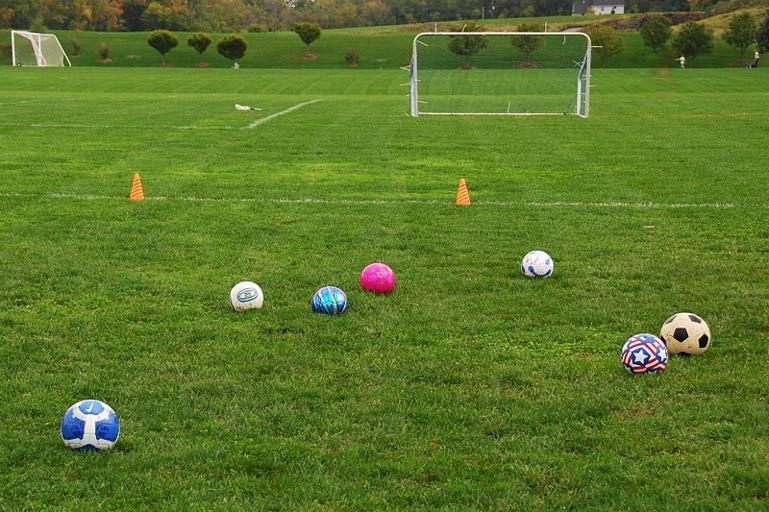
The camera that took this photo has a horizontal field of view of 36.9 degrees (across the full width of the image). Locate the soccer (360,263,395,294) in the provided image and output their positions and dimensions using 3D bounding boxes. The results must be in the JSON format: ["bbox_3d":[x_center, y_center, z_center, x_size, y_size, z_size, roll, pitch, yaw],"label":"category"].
[{"bbox_3d":[-0.183,0.587,29.764,0.737,0.597,0.752,-1,1,34],"label":"soccer"}]

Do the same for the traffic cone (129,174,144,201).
[{"bbox_3d":[-7.420,-2.088,34.539,0.464,0.695,1.329,-4,13,-12],"label":"traffic cone"}]

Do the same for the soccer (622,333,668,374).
[{"bbox_3d":[6.244,2.360,27.564,0.921,0.973,0.948,7,-14,3],"label":"soccer"}]

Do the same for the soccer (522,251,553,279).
[{"bbox_3d":[4.089,0.220,30.381,0.692,0.727,0.686,0,-17,43],"label":"soccer"}]

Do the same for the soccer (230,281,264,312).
[{"bbox_3d":[-3.457,1.032,29.219,0.733,0.735,0.707,-1,-8,-40],"label":"soccer"}]

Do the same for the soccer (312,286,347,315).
[{"bbox_3d":[-1.388,1.173,29.091,0.689,0.574,0.708,6,-7,-24],"label":"soccer"}]
